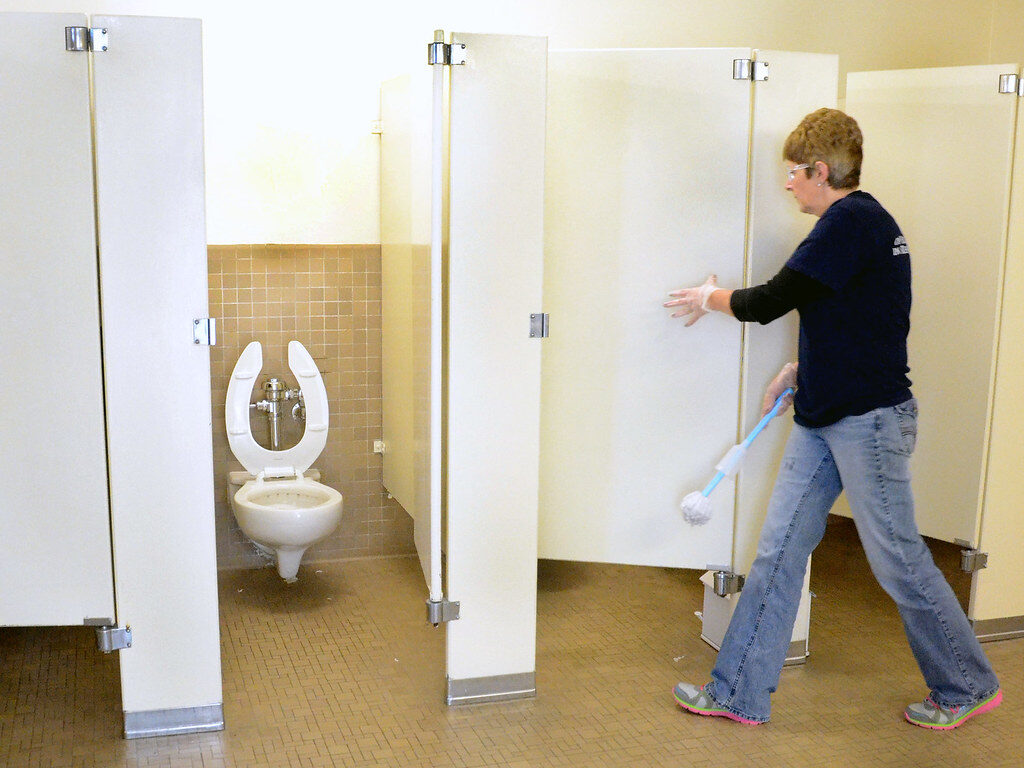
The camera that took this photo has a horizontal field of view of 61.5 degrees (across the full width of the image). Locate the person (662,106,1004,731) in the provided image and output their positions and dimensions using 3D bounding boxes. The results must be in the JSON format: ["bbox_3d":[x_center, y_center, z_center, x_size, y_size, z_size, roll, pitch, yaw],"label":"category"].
[{"bbox_3d":[1.093,0.108,2.889,1.032,2.001,0.453,1,11,3],"label":"person"}]

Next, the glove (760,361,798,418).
[{"bbox_3d":[0.980,0.026,3.085,0.051,0.167,0.119,32,-12,-14],"label":"glove"}]

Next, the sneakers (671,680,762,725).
[{"bbox_3d":[0.700,1.069,2.918,0.269,0.141,0.112,2,0,7],"label":"sneakers"}]

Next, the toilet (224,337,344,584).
[{"bbox_3d":[-1.008,0.373,3.793,0.462,1.069,0.577,-4,11,-20],"label":"toilet"}]
